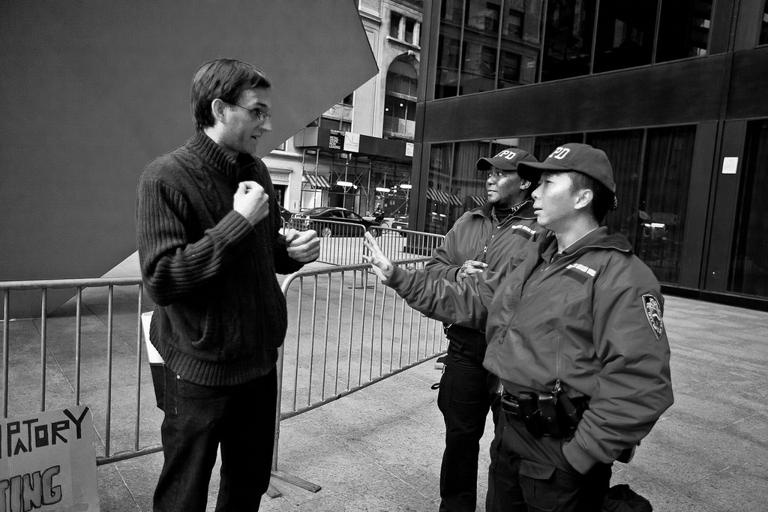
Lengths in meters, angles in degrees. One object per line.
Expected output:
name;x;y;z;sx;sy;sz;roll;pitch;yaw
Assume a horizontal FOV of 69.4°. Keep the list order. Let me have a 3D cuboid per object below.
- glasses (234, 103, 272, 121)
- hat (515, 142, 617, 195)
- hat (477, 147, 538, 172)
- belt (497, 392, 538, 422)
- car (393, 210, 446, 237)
glasses;-0.865;-0.991;3.822;0.132;0.038;0.128;28;13;25
hat;1.351;-0.650;4.143;0.611;0.295;0.391;7;2;6
hat;1.172;-0.916;5.286;0.536;0.187;0.337;0;2;-17
belt;0.944;1.061;3.930;0.221;0.158;0.218;8;-9;-42
car;1.261;-1.104;18.888;1.865;1.276;3.041;-1;1;5
